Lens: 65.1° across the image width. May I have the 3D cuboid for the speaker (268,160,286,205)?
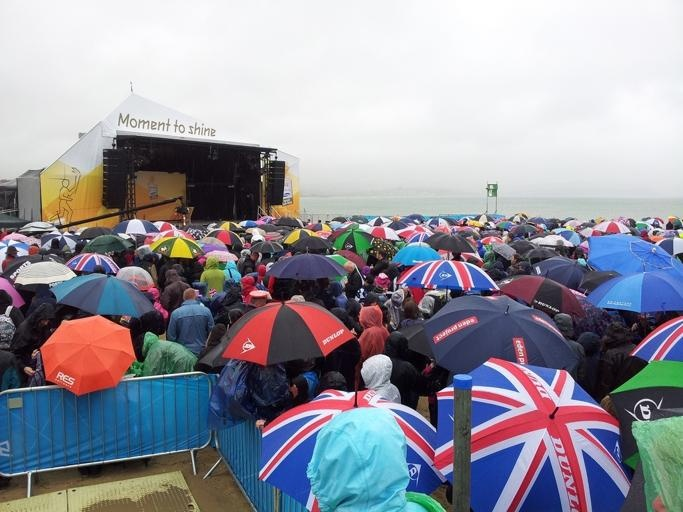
[{"bbox_3d":[-3.579,-4.013,29.201,0.892,2.436,0.827,0,8,-8],"label":"speaker"}]

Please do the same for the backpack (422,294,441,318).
[{"bbox_3d":[1.391,0.781,8.273,0.396,0.388,0.193,1,0,9],"label":"backpack"}]

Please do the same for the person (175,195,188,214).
[{"bbox_3d":[-8.475,-2.711,28.343,0.742,1.028,0.356,7,-22,-13],"label":"person"}]

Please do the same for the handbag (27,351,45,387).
[{"bbox_3d":[-3.214,1.201,5.625,0.131,0.377,0.288,-5,10,-39],"label":"handbag"}]
